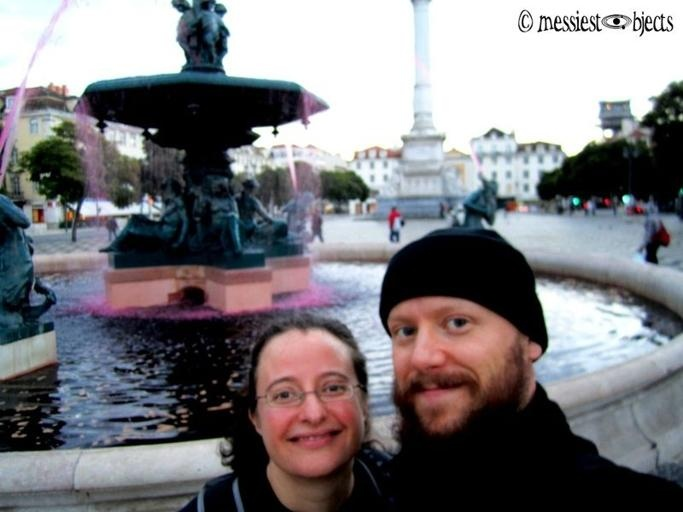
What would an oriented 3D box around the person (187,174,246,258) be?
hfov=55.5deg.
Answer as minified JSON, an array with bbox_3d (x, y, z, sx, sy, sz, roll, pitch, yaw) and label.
[{"bbox_3d":[-1.675,-0.563,8.689,0.450,1.036,1.165,-4,8,-36],"label":"person"}]

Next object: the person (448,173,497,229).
[{"bbox_3d":[2.516,-1.037,12.136,0.744,0.973,1.277,2,7,14],"label":"person"}]

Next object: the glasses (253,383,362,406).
[{"bbox_3d":[-0.140,0.578,2.727,0.410,0.091,0.080,0,7,-3],"label":"glasses"}]

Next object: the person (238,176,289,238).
[{"bbox_3d":[-1.165,-0.711,9.704,0.704,0.906,1.910,0,7,-3],"label":"person"}]
